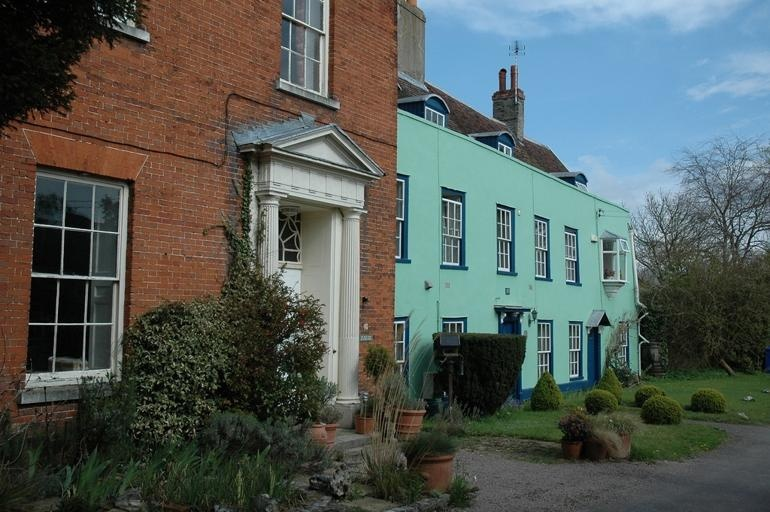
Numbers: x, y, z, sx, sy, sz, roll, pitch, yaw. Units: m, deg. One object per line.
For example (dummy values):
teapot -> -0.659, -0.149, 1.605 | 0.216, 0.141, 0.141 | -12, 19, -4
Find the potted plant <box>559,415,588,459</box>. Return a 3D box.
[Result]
potted plant -> 3.498, 3.443, 12.454 | 0.613, 0.944, 0.627 | 5, -16, 22

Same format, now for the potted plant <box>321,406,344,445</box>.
potted plant -> -1.005, 3.036, 11.722 | 0.401, 0.702, 0.488 | -1, -18, 1

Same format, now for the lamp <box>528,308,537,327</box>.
lamp -> 4.458, 1.824, 19.692 | 0.117, 0.508, 0.489 | -10, -15, 35

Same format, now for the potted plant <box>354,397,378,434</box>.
potted plant -> -0.364, 3.144, 12.747 | 0.473, 0.679, 0.548 | 0, -10, 10

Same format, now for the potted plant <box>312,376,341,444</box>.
potted plant -> -1.088, 2.918, 11.866 | 0.600, 1.238, 0.716 | -5, -19, -2

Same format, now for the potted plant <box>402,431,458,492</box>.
potted plant -> 0.665, 3.206, 10.247 | 0.775, 0.844, 0.815 | 3, -14, -21

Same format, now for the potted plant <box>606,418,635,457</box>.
potted plant -> 4.621, 3.489, 12.563 | 0.553, 0.696, 0.637 | 0, -5, 2

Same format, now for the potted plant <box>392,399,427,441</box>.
potted plant -> 0.493, 3.206, 12.837 | 0.629, 0.516, 0.666 | -2, -6, 5
